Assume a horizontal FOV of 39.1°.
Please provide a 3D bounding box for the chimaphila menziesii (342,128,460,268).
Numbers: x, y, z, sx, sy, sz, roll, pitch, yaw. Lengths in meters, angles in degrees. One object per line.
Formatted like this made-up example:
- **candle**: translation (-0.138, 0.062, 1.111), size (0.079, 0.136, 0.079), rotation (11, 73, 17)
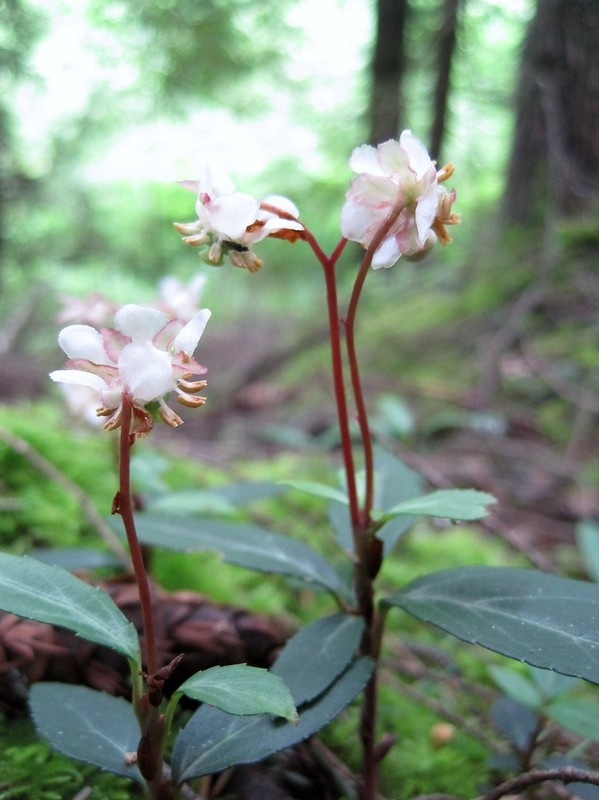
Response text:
- **chimaphila menziesii**: translation (0.166, -0.348, 1.467), size (0.199, 0.233, 0.118), rotation (7, 24, 16)

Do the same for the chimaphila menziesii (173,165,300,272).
- **chimaphila menziesii**: translation (-0.131, -0.312, 1.505), size (0.188, 0.084, 0.171), rotation (0, -2, 9)

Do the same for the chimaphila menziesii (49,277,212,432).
- **chimaphila menziesii**: translation (-0.278, -0.039, 1.402), size (0.288, 0.157, 0.217), rotation (-13, -12, -2)
